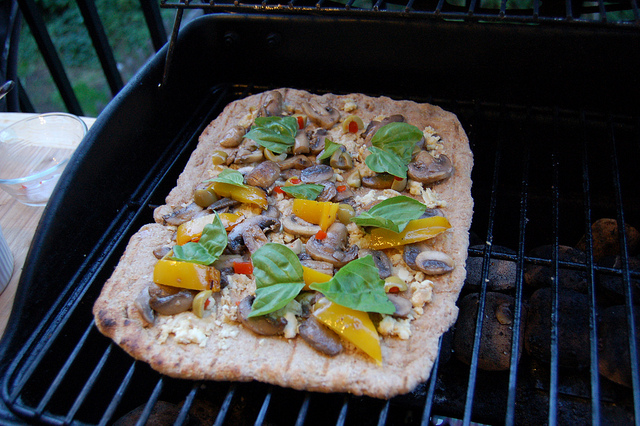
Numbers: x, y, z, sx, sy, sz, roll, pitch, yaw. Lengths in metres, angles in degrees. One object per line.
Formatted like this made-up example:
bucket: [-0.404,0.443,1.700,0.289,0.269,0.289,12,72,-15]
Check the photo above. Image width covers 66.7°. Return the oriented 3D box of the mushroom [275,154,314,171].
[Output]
mushroom: [-0.136,-0.286,2.730,0.150,0.043,0.095,2,50,14]

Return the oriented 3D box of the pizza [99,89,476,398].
pizza: [-0.066,-0.020,2.516,1.668,0.372,1.930,17,56,12]

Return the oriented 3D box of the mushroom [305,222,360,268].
mushroom: [0.075,0.157,2.418,0.247,0.101,0.276,7,38,2]

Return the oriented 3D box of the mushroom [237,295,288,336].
mushroom: [-0.268,0.486,2.244,0.240,0.094,0.122,27,58,19]

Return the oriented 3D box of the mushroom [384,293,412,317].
mushroom: [0.363,0.424,2.244,0.124,0.041,0.100,16,56,11]

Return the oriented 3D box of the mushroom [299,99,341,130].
mushroom: [0.008,-0.604,2.953,0.150,0.055,0.205,-33,63,-33]
